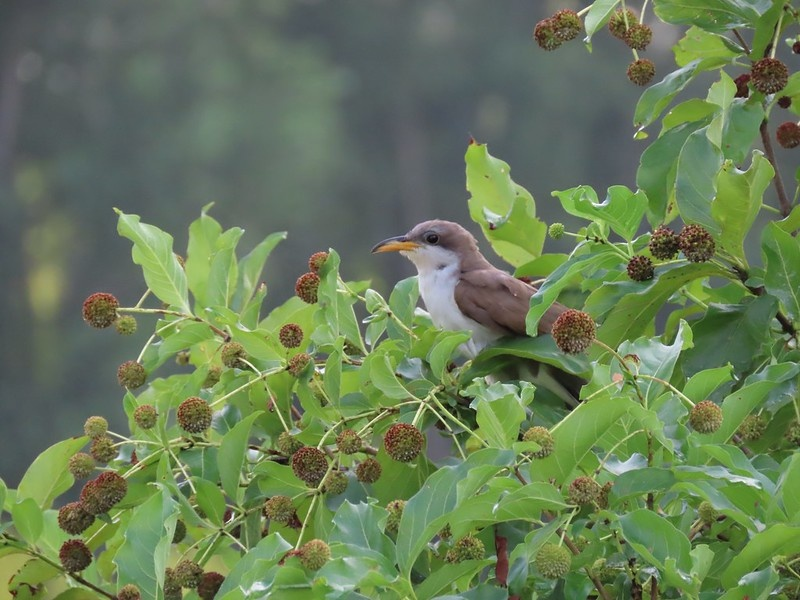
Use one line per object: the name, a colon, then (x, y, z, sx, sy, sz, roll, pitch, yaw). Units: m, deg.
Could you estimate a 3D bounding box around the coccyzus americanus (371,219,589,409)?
coccyzus americanus: (0.353, -0.023, 5.442, 0.935, 0.714, 0.450, -6, 8, -29)
